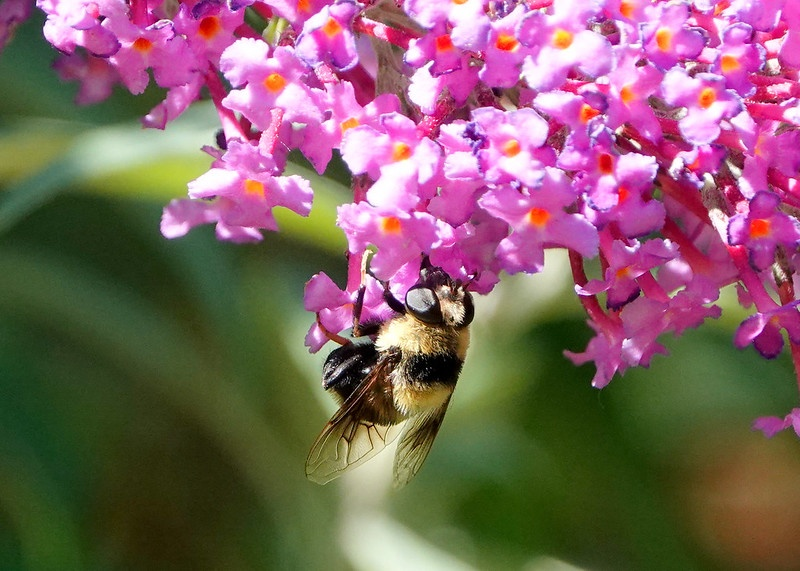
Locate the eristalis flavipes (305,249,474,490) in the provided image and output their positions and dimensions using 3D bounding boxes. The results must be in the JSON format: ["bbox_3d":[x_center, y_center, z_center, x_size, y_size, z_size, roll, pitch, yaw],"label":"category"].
[{"bbox_3d":[-0.050,0.122,1.332,0.270,0.371,0.119,14,17,-38],"label":"eristalis flavipes"}]
